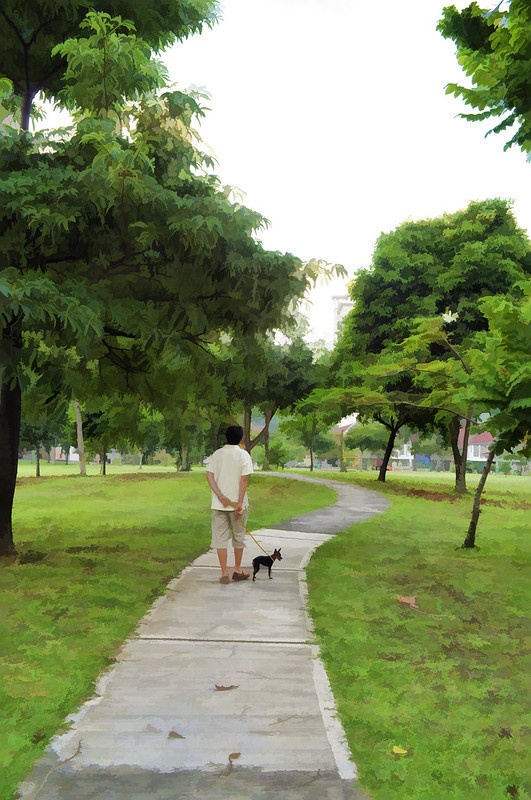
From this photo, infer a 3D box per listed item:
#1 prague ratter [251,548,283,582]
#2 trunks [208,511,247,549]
[{"bbox_3d":[0.001,1.959,8.343,0.315,0.290,0.698,2,-1,0],"label":"prague ratter"},{"bbox_3d":[-0.396,1.447,7.684,0.349,0.351,0.415,2,-1,33],"label":"trunks"}]
